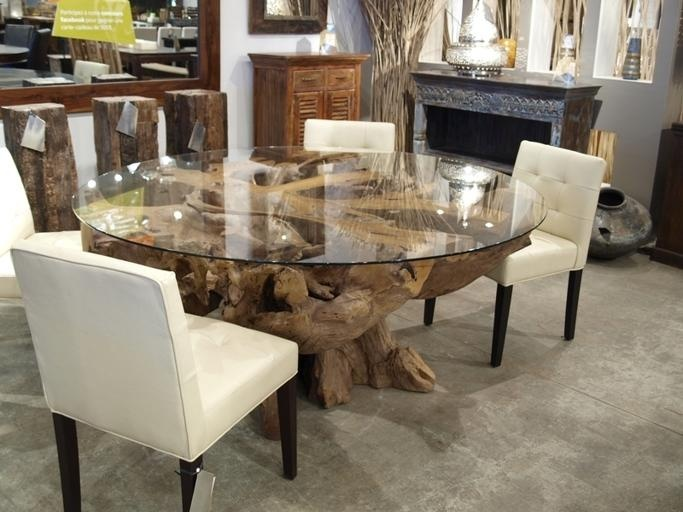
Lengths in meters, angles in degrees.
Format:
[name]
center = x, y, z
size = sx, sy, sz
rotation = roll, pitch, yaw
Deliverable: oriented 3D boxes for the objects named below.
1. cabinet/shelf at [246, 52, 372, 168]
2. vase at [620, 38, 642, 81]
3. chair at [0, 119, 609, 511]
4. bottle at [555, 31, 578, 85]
[cabinet/shelf]
center = -0.308, -1.334, 4.784
size = 0.922, 1.198, 0.586
rotation = -19, 38, -35
[vase]
center = 2.272, -1.531, 3.977
size = 0.125, 0.314, 0.109
rotation = 7, 17, 19
[chair]
center = 0.042, 0.067, 2.297
size = 2.354, 1.119, 1.472
rotation = -6, 18, -25
[bottle]
center = 1.783, -1.537, 4.041
size = 0.153, 0.366, 0.576
rotation = 8, 17, 21
